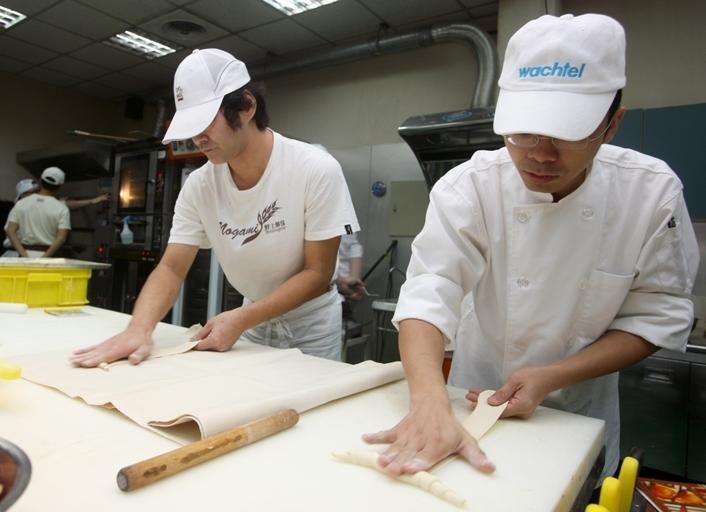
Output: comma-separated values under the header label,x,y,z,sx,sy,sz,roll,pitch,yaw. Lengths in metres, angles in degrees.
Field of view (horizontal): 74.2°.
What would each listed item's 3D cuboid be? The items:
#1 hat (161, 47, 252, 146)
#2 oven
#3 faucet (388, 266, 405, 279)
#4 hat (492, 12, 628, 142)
label,x,y,z,sx,sy,sz,roll,pitch,yaw
hat,-0.501,-0.554,1.671,0.230,0.205,0.386,8,48,42
oven,-2.115,-0.139,4.659,0.713,1.838,0.541,2,-5,8
faucet,0.340,0.128,3.640,0.081,0.042,0.086,28,14,29
hat,0.497,-0.426,1.115,0.278,0.288,0.214,8,15,23
